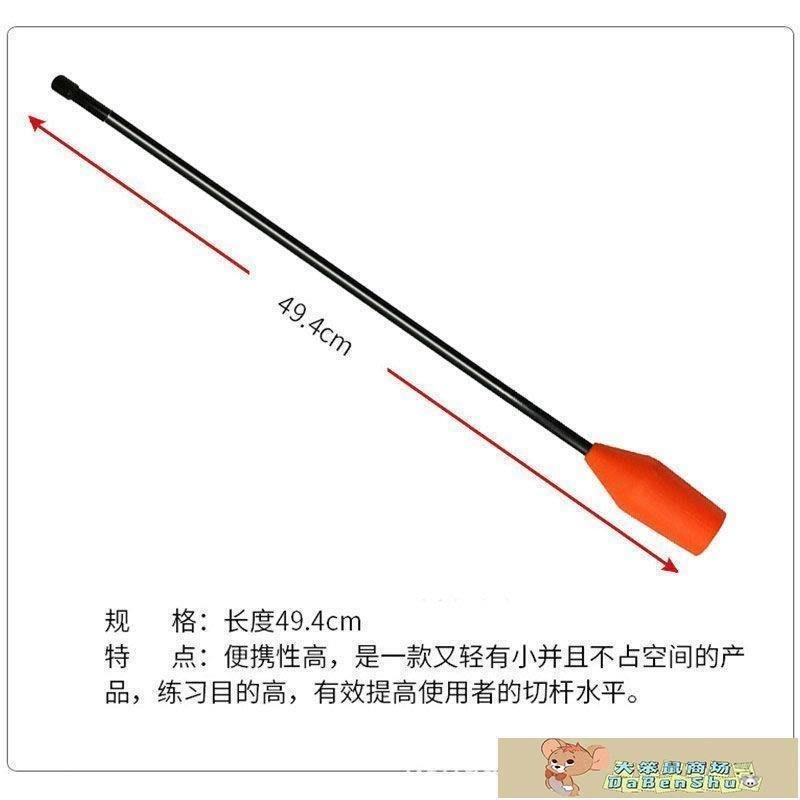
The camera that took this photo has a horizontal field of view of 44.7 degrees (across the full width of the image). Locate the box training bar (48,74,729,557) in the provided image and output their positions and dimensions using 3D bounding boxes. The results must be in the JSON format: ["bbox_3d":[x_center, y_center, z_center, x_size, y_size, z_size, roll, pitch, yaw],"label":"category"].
[{"bbox_3d":[0.374,-0.027,3.939,3.085,0.258,0.235,43,26,2],"label":"box training bar"}]
